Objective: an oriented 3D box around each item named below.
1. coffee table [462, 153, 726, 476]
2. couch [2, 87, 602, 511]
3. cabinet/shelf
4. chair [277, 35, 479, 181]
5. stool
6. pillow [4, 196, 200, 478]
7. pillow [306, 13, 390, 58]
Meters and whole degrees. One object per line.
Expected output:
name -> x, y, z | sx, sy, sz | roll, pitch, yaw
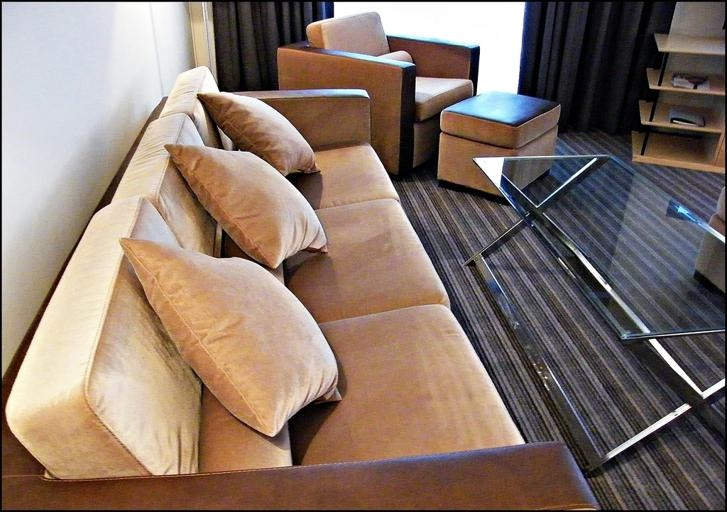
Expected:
coffee table -> 0.864, 0.233, 1.932 | 0.696, 0.565, 1.140 | -6, 41, -12
couch -> -0.172, 0.114, 1.566 | 0.896, 0.679, 1.579 | -9, 43, -5
cabinet/shelf -> 2.283, -1.099, 3.595 | 0.598, 0.767, 0.774 | 13, 36, 21
chair -> 0.073, -0.951, 3.516 | 1.072, 0.791, 1.078 | 21, 41, 25
stool -> 0.771, -0.688, 3.234 | 0.652, 0.565, 0.873 | 19, 37, 28
pillow -> -0.596, 0.199, 1.156 | 0.191, 0.396, 0.558 | -27, 41, 8
pillow -> -0.085, -1.504, 3.501 | 0.476, 0.441, 0.200 | -12, 8, -40
